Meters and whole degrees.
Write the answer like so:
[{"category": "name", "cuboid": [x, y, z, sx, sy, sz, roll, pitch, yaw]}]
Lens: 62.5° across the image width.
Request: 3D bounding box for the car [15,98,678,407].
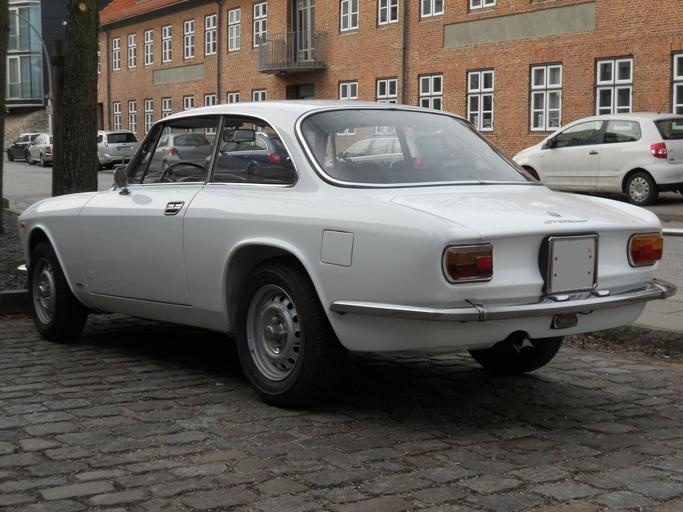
[{"category": "car", "cuboid": [-0.558, -0.175, 4.647, 5.061, 1.278, 2.314, 5, 4, 38]}]
